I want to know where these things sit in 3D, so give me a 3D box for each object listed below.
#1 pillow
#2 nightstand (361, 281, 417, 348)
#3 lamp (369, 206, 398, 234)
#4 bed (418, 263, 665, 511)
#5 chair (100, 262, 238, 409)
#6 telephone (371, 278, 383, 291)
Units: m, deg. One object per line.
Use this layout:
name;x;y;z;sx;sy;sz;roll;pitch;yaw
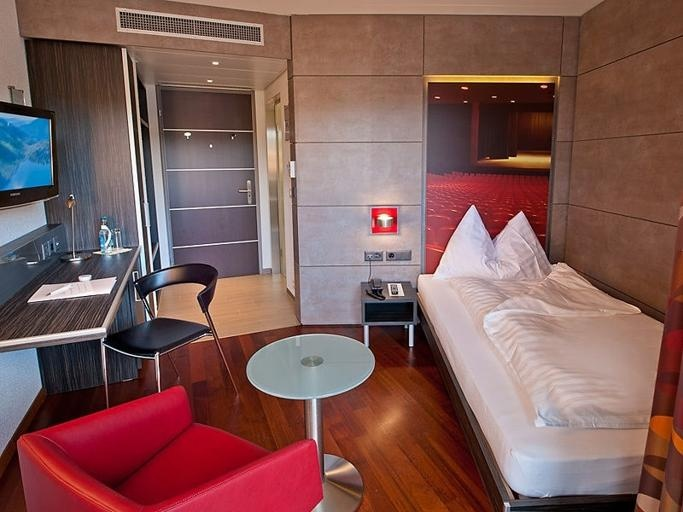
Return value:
pillow;1.408;-0.071;4.271;0.850;0.300;0.690;-2;43;14
nightstand;0.428;0.493;4.197;0.477;0.463;0.591;0;8;2
lamp;0.375;-0.355;4.443;0.346;0.335;0.208;0;17;2
bed;1.394;0.681;2.975;1.385;0.678;1.820;-2;11;-2
chair;-1.329;0.633;3.548;0.833;1.301;0.967;6;8;26
telephone;0.335;0.262;4.311;0.101;0.170;0.102;2;7;9
